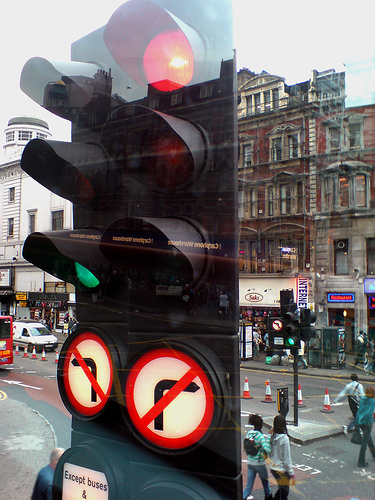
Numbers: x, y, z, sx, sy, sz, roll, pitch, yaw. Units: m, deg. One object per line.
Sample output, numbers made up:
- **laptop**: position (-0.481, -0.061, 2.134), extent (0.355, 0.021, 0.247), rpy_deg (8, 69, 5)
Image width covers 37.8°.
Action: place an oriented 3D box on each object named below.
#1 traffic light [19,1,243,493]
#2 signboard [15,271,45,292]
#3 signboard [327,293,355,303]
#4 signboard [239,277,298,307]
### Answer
- **traffic light**: position (-0.264, -0.008, 2.174), extent (1.088, 2.136, 0.334), rpy_deg (-4, -8, 44)
- **signboard**: position (-0.877, 0.188, 3.092), extent (0.145, 0.136, 0.078), rpy_deg (1, 1, 23)
- **signboard**: position (0.606, 0.194, 2.159), extent (0.128, 0.038, 0.079), rpy_deg (-3, -7, 34)
- **signboard**: position (0.321, 0.170, 2.157), extent (0.222, 0.113, 0.262), rpy_deg (0, -6, 11)
